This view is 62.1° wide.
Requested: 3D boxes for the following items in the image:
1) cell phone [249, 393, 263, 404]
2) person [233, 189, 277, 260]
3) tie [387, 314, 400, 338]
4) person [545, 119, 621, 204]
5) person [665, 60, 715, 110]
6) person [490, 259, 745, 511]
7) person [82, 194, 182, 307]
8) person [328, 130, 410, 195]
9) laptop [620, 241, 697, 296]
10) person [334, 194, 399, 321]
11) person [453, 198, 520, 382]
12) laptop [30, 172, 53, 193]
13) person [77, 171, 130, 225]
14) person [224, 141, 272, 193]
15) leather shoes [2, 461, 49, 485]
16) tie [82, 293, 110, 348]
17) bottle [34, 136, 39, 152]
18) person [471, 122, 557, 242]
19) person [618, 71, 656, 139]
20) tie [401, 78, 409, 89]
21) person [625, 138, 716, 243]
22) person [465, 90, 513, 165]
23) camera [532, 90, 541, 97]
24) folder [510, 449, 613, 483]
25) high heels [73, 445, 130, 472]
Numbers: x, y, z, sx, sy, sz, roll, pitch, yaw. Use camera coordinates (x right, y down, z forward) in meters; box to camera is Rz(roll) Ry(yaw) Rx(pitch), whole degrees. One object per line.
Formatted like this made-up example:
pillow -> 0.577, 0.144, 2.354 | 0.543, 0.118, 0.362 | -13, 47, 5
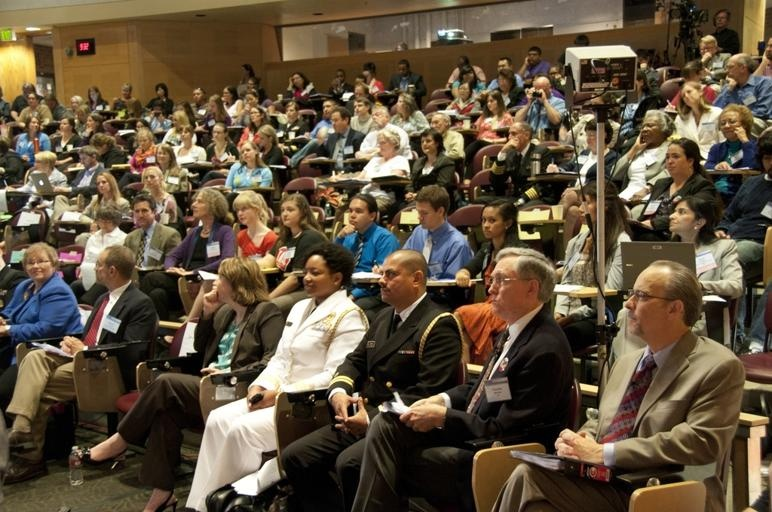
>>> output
cell phone -> -0.867, 0.945, 4.279 | 0.084, 0.049, 0.030 | -32, 20, -11
person -> -1.406, -0.226, 6.848 | 0.451, 0.903, 0.349 | 0, 1, -12
tie -> 0.050, 0.450, 4.131 | 0.055, 0.143, 0.097 | 21, -9, -32
person -> 2.256, -0.963, 7.432 | 0.755, 1.114, 0.531 | 1, 1, -34
person -> 4.685, -2.799, 9.817 | 0.500, 0.800, 1.085 | 7, 8, 34
person -> 1.184, 0.646, 3.180 | 1.036, 1.169, 0.491 | -2, 10, 0
person -> -2.823, -0.063, 7.186 | 0.710, 1.228, 0.961 | 8, 14, 39
person -> -0.067, -1.133, 7.944 | 0.936, 0.989, 0.708 | -3, 6, -42
laptop -> 1.790, 0.079, 4.361 | 0.498, 0.360, 0.371 | 0, -1, -1
person -> -0.260, 0.048, 6.218 | 0.666, 1.243, 0.644 | 8, 12, 29
person -> 0.838, 0.331, 5.349 | 0.746, 1.512, 0.590 | -6, 10, -28
laptop -> -5.173, -1.121, 9.748 | 0.374, 0.284, 0.299 | 9, 12, 17
person -> -3.691, -0.706, 8.473 | 0.689, 0.727, 0.484 | -2, 9, 5
person -> -1.901, -1.213, 8.958 | 0.649, 0.744, 0.438 | 4, 3, 6
leather shoes -> -2.785, 1.659, 4.966 | 0.140, 0.167, 0.352 | -5, -13, 43
tie -> -2.514, 0.576, 5.640 | 0.127, 0.386, 0.279 | 5, -14, 39
bottle -> -6.988, -2.214, 12.849 | 0.126, 0.275, 0.290 | -7, 11, -27
person -> 1.538, -1.050, 7.582 | 0.907, 1.070, 0.940 | 10, 19, 41
person -> 3.468, -2.095, 9.014 | 0.259, 0.890, 0.296 | 20, 19, 32
tie -> 0.410, -3.648, 13.666 | 0.171, 0.265, 0.337 | -3, 9, -4
person -> 2.485, -0.494, 5.670 | 0.920, 1.052, 0.618 | -7, 7, -18
person -> 1.447, -1.804, 9.552 | 0.693, 1.260, 0.571 | 1, 8, -39
camera -> 2.140, -2.303, 9.118 | 0.115, 0.093, 0.189 | -2, 9, 3
folder -> 0.829, 0.992, 3.049 | 0.454, 0.108, 0.096 | 0, 10, 12
high heels -> -2.177, 1.551, 4.901 | 0.424, 0.175, 0.160 | 15, -11, -9
